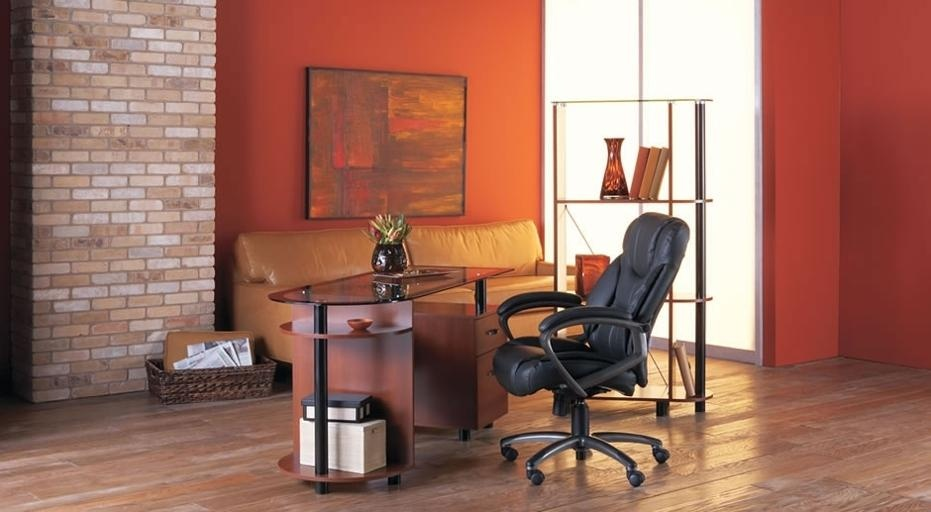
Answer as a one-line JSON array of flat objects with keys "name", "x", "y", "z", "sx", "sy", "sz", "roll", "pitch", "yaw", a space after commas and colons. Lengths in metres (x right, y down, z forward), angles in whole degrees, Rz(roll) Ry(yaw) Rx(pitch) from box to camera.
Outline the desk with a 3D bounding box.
[{"name": "desk", "x": -0.489, "y": 0.895, "z": 5.212, "sx": 0.657, "sy": 0.722, "sz": 1.686, "roll": 1, "pitch": 4, "yaw": 25}]

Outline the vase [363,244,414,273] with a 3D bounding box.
[{"name": "vase", "x": -0.585, "y": 0.009, "z": 5.621, "sx": 0.283, "sy": 0.168, "sz": 0.251, "roll": 4, "pitch": 9, "yaw": 8}]

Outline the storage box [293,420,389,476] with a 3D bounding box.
[{"name": "storage box", "x": -0.834, "y": 1.211, "z": 5.054, "sx": 0.516, "sy": 0.245, "sz": 0.283, "roll": -2, "pitch": -4, "yaw": 24}]

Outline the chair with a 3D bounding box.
[{"name": "chair", "x": 0.829, "y": 0.594, "z": 5.345, "sx": 1.479, "sy": 1.503, "sz": 1.302, "roll": -6, "pitch": 3, "yaw": -23}]

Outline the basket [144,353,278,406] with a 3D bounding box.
[{"name": "basket", "x": -2.111, "y": 0.989, "z": 6.347, "sx": 0.722, "sy": 0.194, "sz": 0.456, "roll": -1, "pitch": 1, "yaw": -21}]

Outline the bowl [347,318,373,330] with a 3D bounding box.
[{"name": "bowl", "x": -0.662, "y": 0.428, "z": 4.897, "sx": 0.175, "sy": 0.063, "sz": 0.102, "roll": -6, "pitch": 9, "yaw": -31}]

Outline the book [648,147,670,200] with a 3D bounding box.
[{"name": "book", "x": 1.490, "y": -0.641, "z": 5.920, "sx": 0.093, "sy": 0.311, "sz": 0.356, "roll": 12, "pitch": 1, "yaw": 6}]

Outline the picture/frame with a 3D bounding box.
[{"name": "picture/frame", "x": -0.790, "y": -1.129, "z": 7.696, "sx": 0.046, "sy": 1.438, "sz": 2.055, "roll": 12, "pitch": 14, "yaw": 44}]

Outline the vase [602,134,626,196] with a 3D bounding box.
[{"name": "vase", "x": 1.153, "y": -0.692, "z": 6.014, "sx": 0.221, "sy": 0.471, "sz": 0.290, "roll": 0, "pitch": 9, "yaw": 13}]

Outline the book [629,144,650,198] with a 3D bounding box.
[{"name": "book", "x": 1.332, "y": -0.637, "z": 5.939, "sx": 0.095, "sy": 0.304, "sz": 0.348, "roll": 10, "pitch": 1, "yaw": 7}]

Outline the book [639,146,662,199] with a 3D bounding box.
[{"name": "book", "x": 1.404, "y": -0.646, "z": 5.902, "sx": 0.095, "sy": 0.314, "sz": 0.358, "roll": 13, "pitch": 0, "yaw": 9}]
